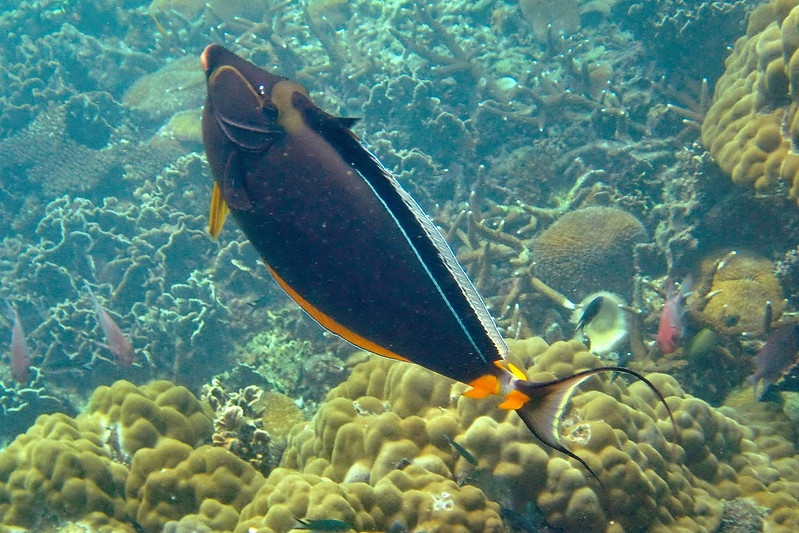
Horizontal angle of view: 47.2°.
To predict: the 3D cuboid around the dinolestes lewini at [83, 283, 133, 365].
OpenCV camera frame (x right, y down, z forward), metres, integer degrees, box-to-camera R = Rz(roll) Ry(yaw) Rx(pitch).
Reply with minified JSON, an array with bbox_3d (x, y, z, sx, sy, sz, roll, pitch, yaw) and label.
[{"bbox_3d":[-5.594,1.146,17.526,0.341,0.577,1.435,-30,71,5],"label":"dinolestes lewini"}]
